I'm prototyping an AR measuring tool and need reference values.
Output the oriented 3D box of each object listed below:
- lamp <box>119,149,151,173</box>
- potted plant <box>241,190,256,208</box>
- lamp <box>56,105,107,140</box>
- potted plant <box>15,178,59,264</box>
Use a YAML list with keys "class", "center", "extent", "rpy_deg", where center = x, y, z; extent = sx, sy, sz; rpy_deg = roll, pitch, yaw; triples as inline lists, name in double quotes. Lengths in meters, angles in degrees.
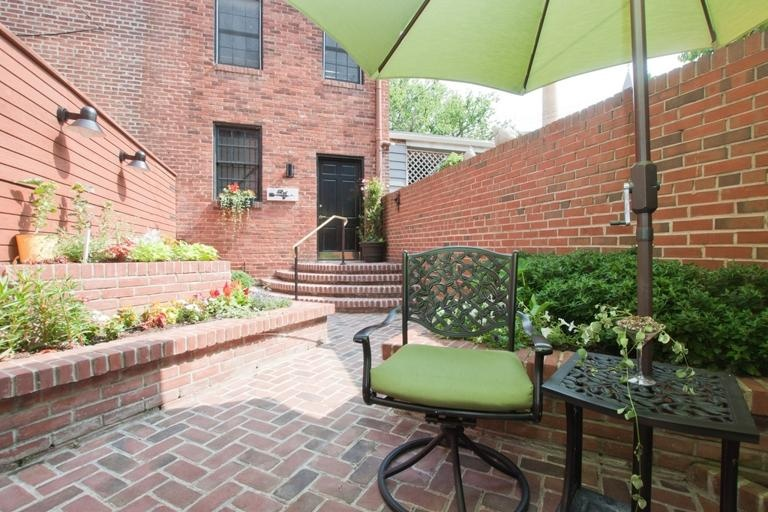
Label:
- class: "lamp"
  center: [-3.448, -1.297, 6.895]
  extent: [0.342, 0.264, 0.482]
  rpy_deg: [0, -1, -22]
- class: "potted plant"
  center: [-2.679, -1.101, 9.842]
  extent: [0.338, 0.325, 0.322]
  rpy_deg: [-4, 10, -26]
- class: "lamp"
  center: [-3.260, -1.443, 5.408]
  extent: [0.483, 0.300, 0.340]
  rpy_deg: [4, -3, 3]
- class: "potted plant"
  center: [-3.472, -0.333, 5.086]
  extent: [0.295, 0.859, 0.514]
  rpy_deg: [0, 0, 1]
